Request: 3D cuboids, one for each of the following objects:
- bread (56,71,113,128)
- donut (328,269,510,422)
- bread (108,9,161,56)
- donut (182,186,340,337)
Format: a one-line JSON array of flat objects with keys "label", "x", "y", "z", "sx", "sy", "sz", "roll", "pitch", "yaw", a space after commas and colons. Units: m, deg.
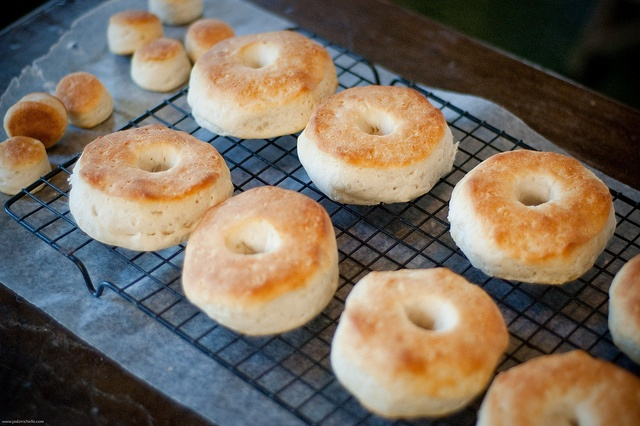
[{"label": "bread", "x": -1.014, "y": -0.464, "z": 2.703, "sx": 0.228, "sy": 0.148, "sz": 0.228, "roll": -33, "pitch": 78, "yaw": -12}, {"label": "donut", "x": 0.314, "y": 0.400, "z": 1.906, "sx": 0.542, "sy": 0.119, "sz": 0.491, "roll": 6, "pitch": 77, "yaw": 8}, {"label": "bread", "x": -0.877, "y": -0.845, "z": 2.864, "sx": 0.193, "sy": 0.140, "sz": 0.198, "roll": 0, "pitch": 33, "yaw": 0}, {"label": "donut", "x": -0.203, "y": 0.149, "z": 2.067, "sx": 0.512, "sy": 0.171, "sz": 0.518, "roll": 2, "pitch": 77, "yaw": 8}]
